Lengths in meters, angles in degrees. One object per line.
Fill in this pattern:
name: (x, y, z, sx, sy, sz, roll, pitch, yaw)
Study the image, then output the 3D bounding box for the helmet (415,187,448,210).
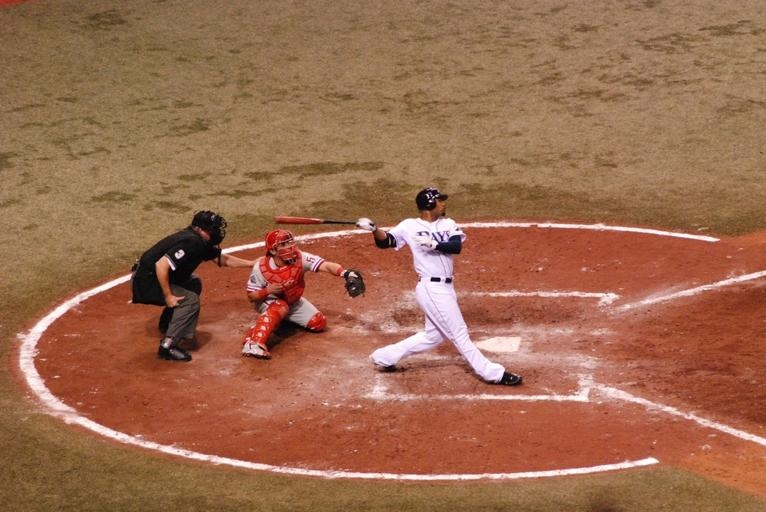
helmet: (0.748, -0.833, 14.922, 0.632, 0.321, 0.204, -15, 99, -9)

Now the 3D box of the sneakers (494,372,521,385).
sneakers: (1.851, 1.797, 14.891, 0.333, 0.276, 0.202, 17, 74, 13)

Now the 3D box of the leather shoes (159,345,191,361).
leather shoes: (-3.125, 1.455, 15.316, 0.484, 0.180, 0.210, 3, 69, 7)

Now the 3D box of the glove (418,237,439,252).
glove: (0.635, -0.179, 14.740, 0.321, 0.127, 0.162, 37, 76, 19)

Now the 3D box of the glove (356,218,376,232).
glove: (-0.291, -0.455, 15.025, 0.283, 0.231, 0.095, 7, 82, 55)

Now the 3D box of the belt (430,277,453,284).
belt: (0.835, 0.366, 14.835, 0.302, 0.142, 0.083, -4, 71, 4)

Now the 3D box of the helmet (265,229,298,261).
helmet: (-1.517, -0.174, 15.681, 0.742, 0.495, 0.398, -1, 101, 6)
